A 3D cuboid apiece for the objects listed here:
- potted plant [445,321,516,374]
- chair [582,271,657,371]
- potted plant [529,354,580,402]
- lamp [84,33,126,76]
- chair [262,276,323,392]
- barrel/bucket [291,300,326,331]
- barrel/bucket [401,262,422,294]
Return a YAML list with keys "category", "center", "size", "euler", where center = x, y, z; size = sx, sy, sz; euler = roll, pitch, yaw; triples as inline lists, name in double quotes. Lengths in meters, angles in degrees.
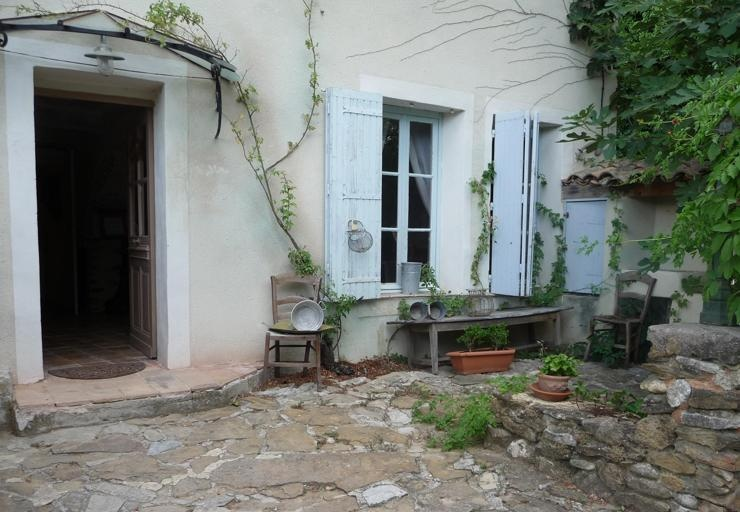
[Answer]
- category: "potted plant"
  center: [1.405, 1.171, 7.116]
  size: [0.865, 0.587, 0.455]
  euler: [1, -10, -26]
- category: "chair"
  center: [3.353, 0.831, 7.502]
  size: [0.625, 1.201, 0.656]
  euler: [13, 17, 39]
- category: "potted plant"
  center: [1.677, 1.071, 5.038]
  size: [0.397, 0.381, 0.411]
  euler: [2, -4, 6]
- category: "lamp"
  center: [-2.675, -2.004, 5.637]
  size: [0.366, 0.370, 0.300]
  euler: [-3, 14, -24]
- category: "chair"
  center: [-0.879, 0.835, 6.467]
  size: [0.649, 1.162, 0.867]
  euler: [1, 13, -5]
- category: "barrel/bucket"
  center: [-0.704, 0.664, 6.276]
  size: [0.339, 0.286, 0.193]
  euler: [1, 13, -9]
- category: "barrel/bucket"
  center: [0.493, 0.300, 7.469]
  size: [0.371, 0.382, 0.352]
  euler: [3, -3, 0]
